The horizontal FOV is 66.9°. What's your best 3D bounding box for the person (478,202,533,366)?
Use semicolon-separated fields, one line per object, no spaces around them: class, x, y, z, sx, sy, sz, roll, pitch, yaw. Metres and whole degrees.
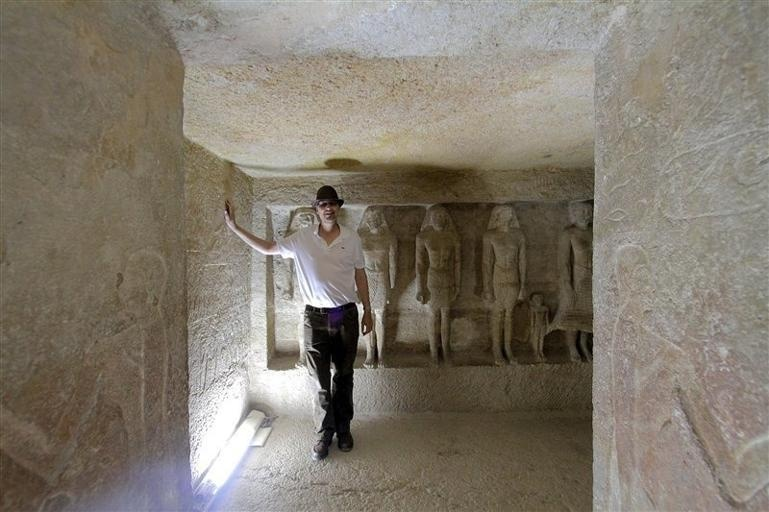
person;0.890;0.200;4.355;0.317;1.182;0.201;-1;-1;9

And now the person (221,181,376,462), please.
person;-0.419;0.431;3.532;0.436;1.665;0.587;-2;-2;45

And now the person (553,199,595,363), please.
person;1.435;0.182;4.392;0.215;1.196;0.297;1;-1;-38

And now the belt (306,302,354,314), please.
belt;-0.322;0.315;3.494;0.300;0.055;0.093;0;-1;-13

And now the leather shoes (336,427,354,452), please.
leather shoes;-0.256;1.184;3.710;0.069;0.113;0.172;-2;-6;-2

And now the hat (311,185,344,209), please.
hat;-0.367;-0.368;3.619;0.206;0.101;0.273;-1;-12;-4
